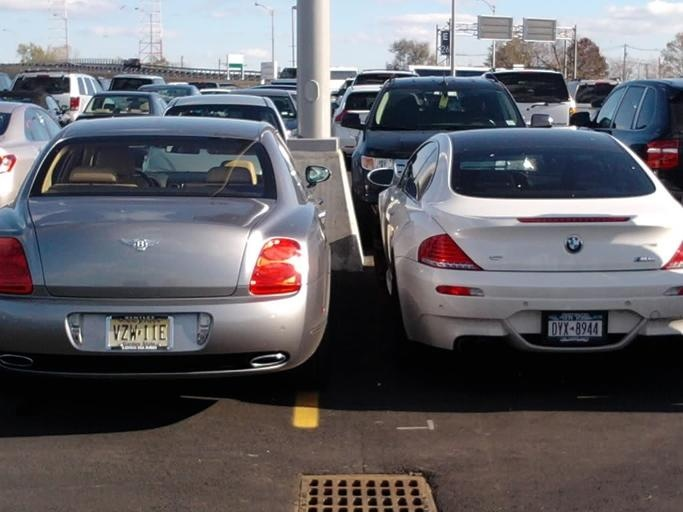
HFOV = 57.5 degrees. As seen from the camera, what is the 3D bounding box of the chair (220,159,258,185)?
[{"bbox_3d":[-0.733,-0.632,4.502,0.226,0.199,0.205,5,19,1],"label":"chair"}]
